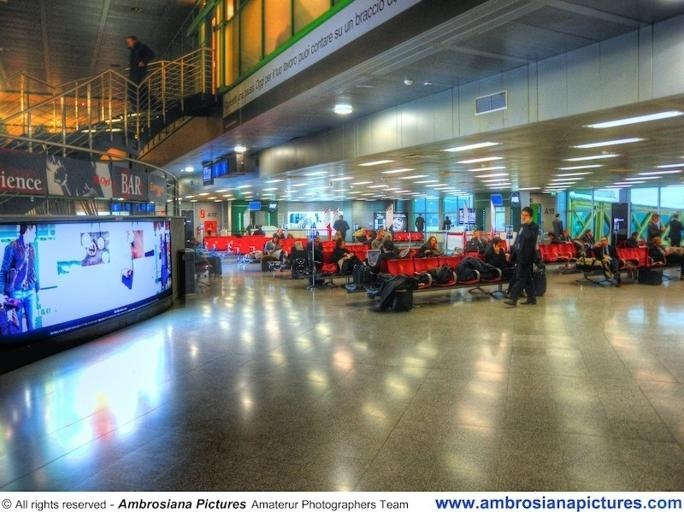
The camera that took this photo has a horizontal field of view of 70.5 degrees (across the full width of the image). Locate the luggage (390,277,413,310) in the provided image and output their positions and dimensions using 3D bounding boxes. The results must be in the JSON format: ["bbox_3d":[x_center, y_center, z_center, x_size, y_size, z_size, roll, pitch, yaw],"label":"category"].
[{"bbox_3d":[1.439,0.957,10.664,0.481,0.767,0.598,2,-33,15],"label":"luggage"}]

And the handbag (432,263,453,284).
[{"bbox_3d":[2.352,0.430,11.183,0.614,0.437,0.237,-4,8,-26],"label":"handbag"}]

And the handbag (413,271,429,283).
[{"bbox_3d":[1.803,0.492,10.845,0.315,0.196,0.274,-1,7,-1],"label":"handbag"}]

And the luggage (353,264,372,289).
[{"bbox_3d":[0.527,0.557,12.301,0.441,0.577,0.413,-1,8,-2],"label":"luggage"}]

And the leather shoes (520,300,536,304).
[{"bbox_3d":[4.317,1.077,11.206,0.315,0.137,0.109,3,1,30],"label":"leather shoes"}]

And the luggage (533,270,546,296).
[{"bbox_3d":[5.017,0.698,12.310,0.234,0.630,0.513,4,9,31],"label":"luggage"}]

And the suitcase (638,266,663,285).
[{"bbox_3d":[9.187,0.594,14.392,0.554,0.434,0.568,0,2,25],"label":"suitcase"}]
